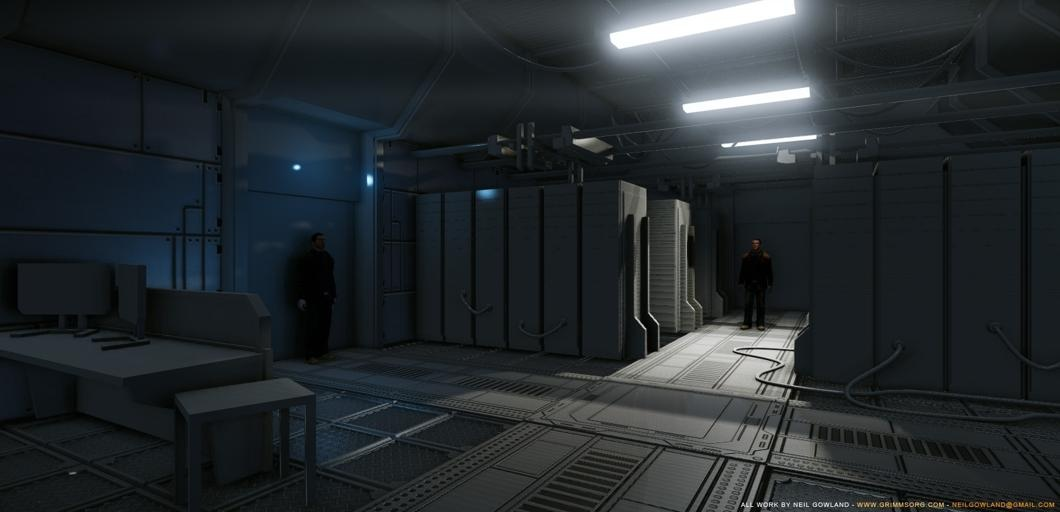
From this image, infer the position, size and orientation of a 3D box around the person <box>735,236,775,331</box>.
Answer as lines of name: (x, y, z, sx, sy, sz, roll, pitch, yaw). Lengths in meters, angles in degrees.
person: (6.797, 0.857, 16.995, 0.900, 2.640, 1.024, -3, 5, 18)

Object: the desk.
desk: (-6.968, 2.444, 10.110, 4.307, 1.815, 1.833, 2, 1, 26)
